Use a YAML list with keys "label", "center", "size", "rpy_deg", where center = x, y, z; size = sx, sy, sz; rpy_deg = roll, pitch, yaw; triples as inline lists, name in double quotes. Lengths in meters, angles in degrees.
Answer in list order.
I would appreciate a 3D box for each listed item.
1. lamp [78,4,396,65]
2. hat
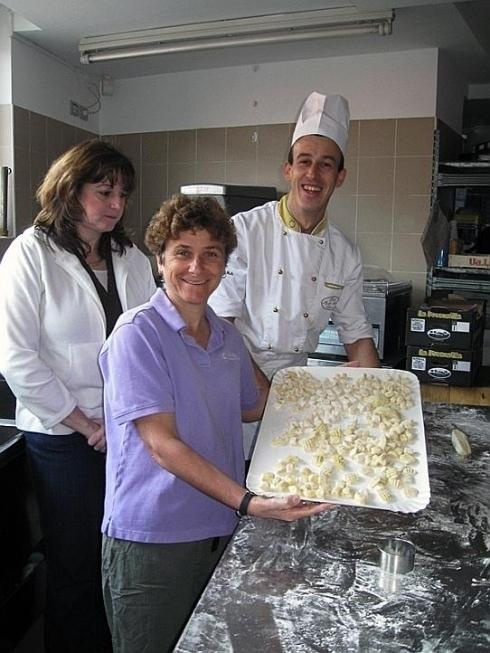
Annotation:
- label: "lamp"
  center: [-0.023, -1.521, 2.640]
  size: [1.568, 0.229, 0.115]
  rpy_deg: [1, 0, 7]
- label: "hat"
  center: [0.235, -0.555, 1.537]
  size: [0.151, 0.137, 0.199]
  rpy_deg: [8, -18, 18]
